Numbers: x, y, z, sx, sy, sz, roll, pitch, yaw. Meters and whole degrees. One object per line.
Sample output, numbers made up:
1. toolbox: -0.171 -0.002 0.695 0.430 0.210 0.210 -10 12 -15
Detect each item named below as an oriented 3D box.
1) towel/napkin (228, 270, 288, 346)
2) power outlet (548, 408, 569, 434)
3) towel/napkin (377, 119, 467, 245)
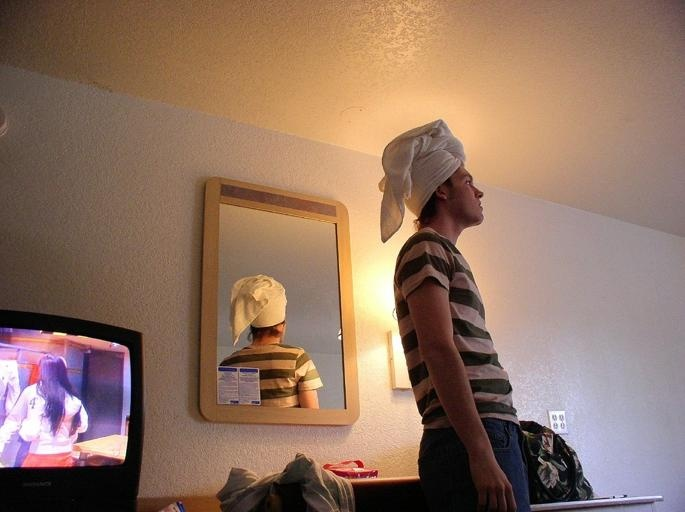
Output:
1. towel/napkin: -0.406 0.223 2.442 0.299 0.293 0.236 -8 29 -38
2. power outlet: 1.235 0.948 2.868 0.149 0.162 0.023 9 -24 -18
3. towel/napkin: 0.283 -0.293 1.820 0.317 0.390 0.392 -5 13 43
